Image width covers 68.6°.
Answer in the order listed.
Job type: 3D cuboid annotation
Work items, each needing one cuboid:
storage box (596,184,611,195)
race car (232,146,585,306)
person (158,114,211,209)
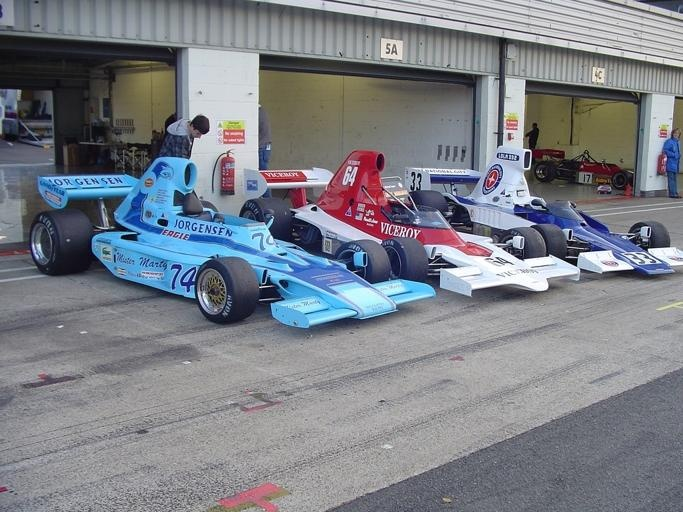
[{"bbox_3d":[10.220,-2.556,19.237,0.611,0.348,0.737,-2,10,-1],"label":"storage box"},{"bbox_3d":[0.310,-0.378,8.256,2.417,1.544,5.576,-8,20,-42],"label":"race car"},{"bbox_3d":[-2.371,-1.387,7.513,0.652,1.438,0.695,2,-8,-7],"label":"person"}]
